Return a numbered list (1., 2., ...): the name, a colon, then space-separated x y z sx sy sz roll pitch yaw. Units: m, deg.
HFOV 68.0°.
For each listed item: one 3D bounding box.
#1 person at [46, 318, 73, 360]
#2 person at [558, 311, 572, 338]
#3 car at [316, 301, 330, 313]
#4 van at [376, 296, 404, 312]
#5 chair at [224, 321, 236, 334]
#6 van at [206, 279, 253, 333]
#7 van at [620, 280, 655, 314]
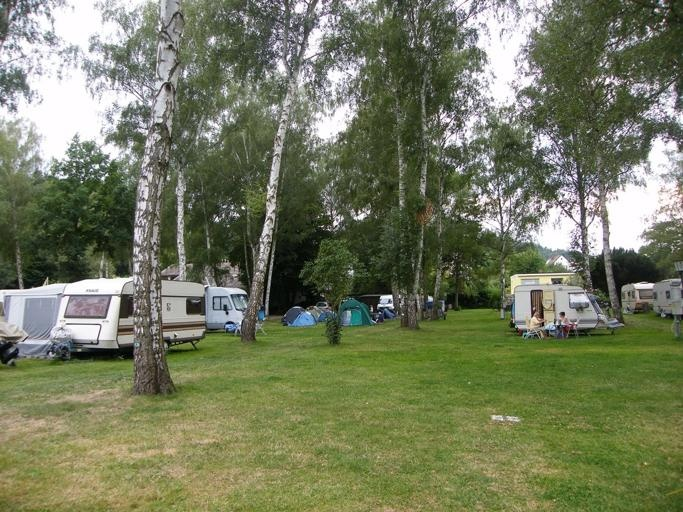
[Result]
1. person: -9.267 2.734 16.665 0.649 1.238 0.419 0 -16 -4
2. person: 9.448 2.913 21.416 0.586 1.042 0.810 0 3 5
3. car: -1.434 3.945 39.746 0.886 0.916 1.656 1 6 11
4. van: 3.540 3.541 37.215 1.152 1.306 2.216 -3 -12 11
5. chair: -5.825 3.803 26.694 0.666 0.492 0.639 -5 8 -30
6. van: -6.665 2.903 28.233 2.668 2.387 1.919 -1 -2 23
7. van: 22.870 3.231 39.879 1.912 2.641 3.256 1 2 3
